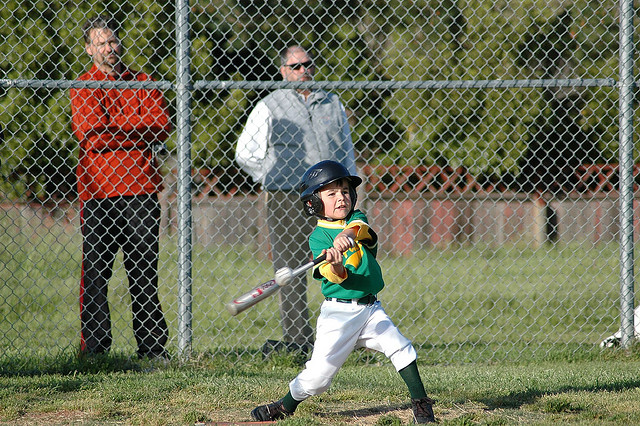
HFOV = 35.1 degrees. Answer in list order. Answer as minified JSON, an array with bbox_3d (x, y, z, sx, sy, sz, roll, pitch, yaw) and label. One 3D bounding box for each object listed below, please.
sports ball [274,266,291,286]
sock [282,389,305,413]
[{"bbox_3d":[-0.352,0.579,9.281,0.151,0.164,0.132,-2,-4,-4],"label":"sports ball"},{"bbox_3d":[-0.288,1.754,9.626,0.210,0.222,0.134,-39,-25,30],"label":"sock"}]
